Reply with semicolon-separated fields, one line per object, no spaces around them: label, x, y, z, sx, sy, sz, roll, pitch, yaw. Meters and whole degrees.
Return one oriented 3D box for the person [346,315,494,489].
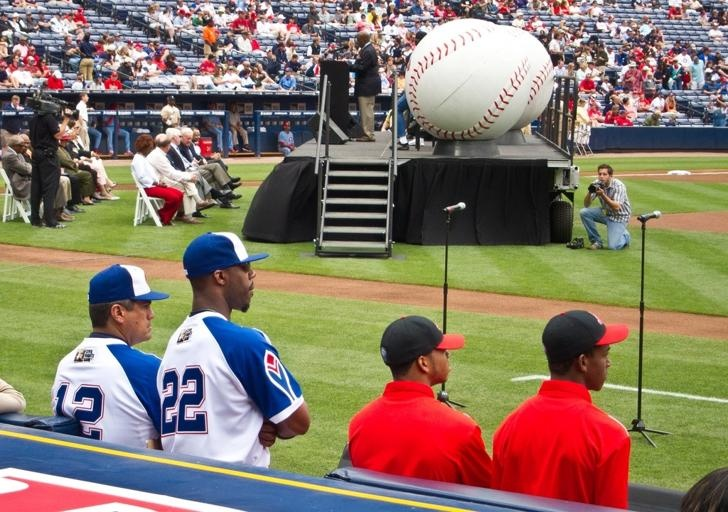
person;0.481;1.265;9.492;1.215;1.402;0.516;1;9;2

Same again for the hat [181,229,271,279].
hat;-1.248;-0.026;9.748;0.563;0.271;0.351;-3;9;-8

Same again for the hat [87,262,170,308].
hat;-2.120;0.268;9.997;0.610;0.306;0.360;-1;9;-10

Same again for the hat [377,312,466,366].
hat;0.498;0.705;9.646;0.625;0.302;0.391;-8;12;-12

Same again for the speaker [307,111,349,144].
speaker;-0.785;-2.450;22.340;0.847;0.752;1.084;-3;13;7

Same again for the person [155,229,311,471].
person;-1.135;0.828;9.570;1.236;1.930;0.569;1;9;2

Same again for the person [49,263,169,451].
person;-2.202;0.915;9.810;0.995;1.590;0.551;-1;9;-10
